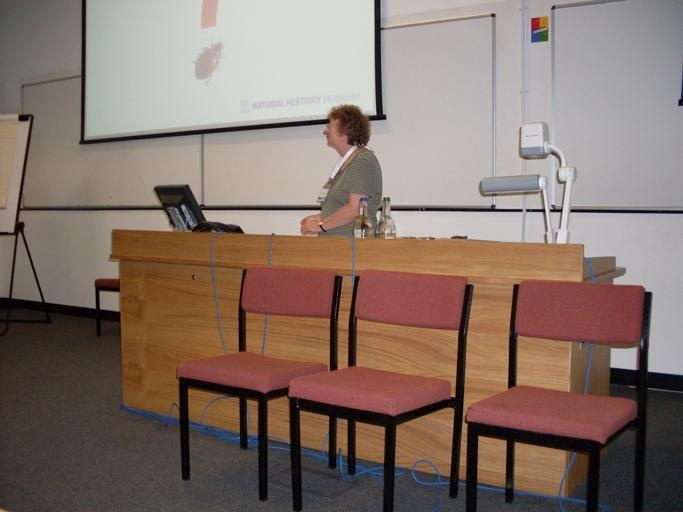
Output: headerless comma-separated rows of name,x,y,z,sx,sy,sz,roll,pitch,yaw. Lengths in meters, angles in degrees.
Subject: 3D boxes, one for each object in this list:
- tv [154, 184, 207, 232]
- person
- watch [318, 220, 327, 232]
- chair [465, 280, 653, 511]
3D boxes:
tv,-0.958,-0.286,3.320,0.221,0.349,0.077,-5,27,30
person,-0.017,-0.521,3.376,0.498,0.795,0.536,1,6,12
watch,-0.115,-0.184,3.346,0.038,0.071,0.060,-3,-12,7
chair,0.926,0.596,2.274,0.554,0.976,0.883,4,7,40
